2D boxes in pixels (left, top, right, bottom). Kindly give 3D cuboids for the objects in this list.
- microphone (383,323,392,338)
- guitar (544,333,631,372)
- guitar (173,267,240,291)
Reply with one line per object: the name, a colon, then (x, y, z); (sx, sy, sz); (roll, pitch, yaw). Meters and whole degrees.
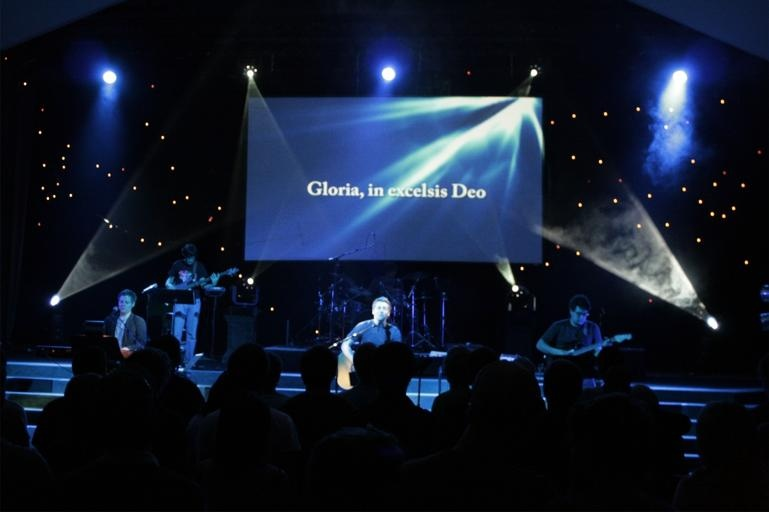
microphone: (0.016, 1.010, 9.504); (0.036, 0.154, 0.109); (0, 38, 13)
guitar: (2.614, 1.213, 9.258); (1.305, 0.143, 0.540); (-6, 7, 41)
guitar: (-2.874, 0.368, 10.749); (0.897, 0.106, 0.389); (-6, 24, -4)
